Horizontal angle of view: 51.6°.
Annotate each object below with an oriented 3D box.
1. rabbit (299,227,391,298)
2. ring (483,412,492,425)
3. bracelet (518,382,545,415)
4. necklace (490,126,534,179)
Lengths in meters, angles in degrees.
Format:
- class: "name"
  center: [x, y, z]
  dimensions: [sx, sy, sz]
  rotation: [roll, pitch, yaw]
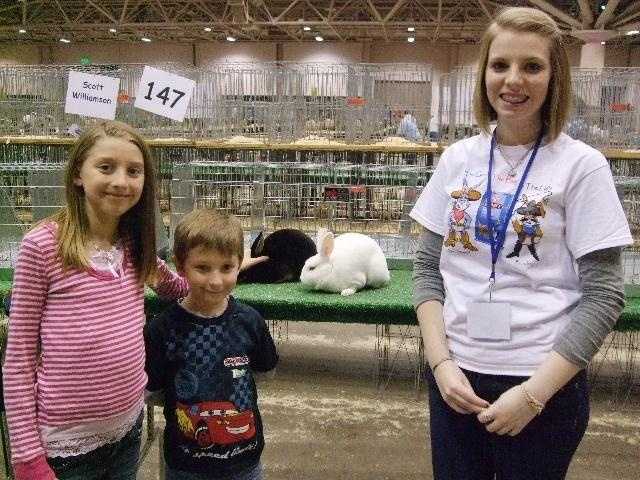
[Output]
- class: "rabbit"
  center: [0.152, 0.129, 3.813]
  dimensions: [0.566, 0.394, 0.357]
  rotation: [-7, 0, -28]
- class: "ring"
  center: [0.474, 0.498, 1.865]
  dimensions: [0.021, 0.016, 0.030]
  rotation: [-2, 28, 11]
- class: "bracelet"
  center: [0.581, 0.441, 1.848]
  dimensions: [0.026, 0.075, 0.065]
  rotation: [-36, 6, 47]
- class: "necklace"
  center: [0.563, -0.259, 1.956]
  dimensions: [0.077, 0.037, 0.142]
  rotation: [4, 47, 17]
